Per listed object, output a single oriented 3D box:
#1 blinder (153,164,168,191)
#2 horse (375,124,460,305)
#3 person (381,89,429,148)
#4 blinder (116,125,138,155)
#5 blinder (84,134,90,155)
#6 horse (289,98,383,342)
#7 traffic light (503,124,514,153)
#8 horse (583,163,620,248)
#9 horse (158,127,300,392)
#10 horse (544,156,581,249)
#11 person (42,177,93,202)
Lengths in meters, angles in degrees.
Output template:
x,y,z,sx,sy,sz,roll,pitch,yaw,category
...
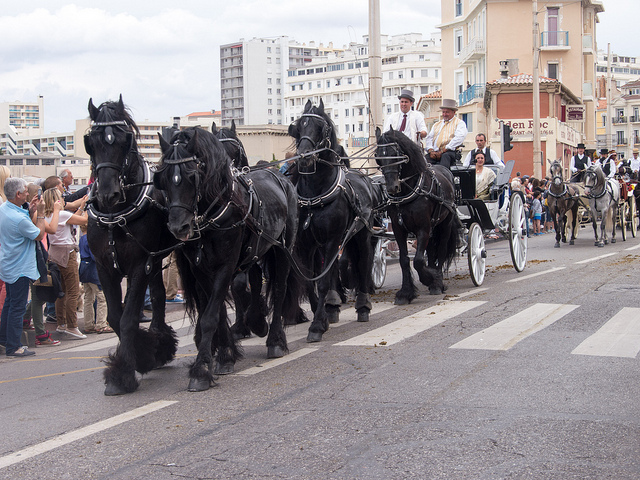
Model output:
x,y,z,sx,sy,sz,roll,pitch,yaw,category
-1.761,-0.674,10.457,0.255,0.278,0.096,-2,5,36,blinder
1.577,-0.407,15.309,0.845,2.738,2.346,-3,3,20,horse
1.519,-1.928,16.695,0.884,1.376,0.768,5,10,22,person
-2.131,-1.114,10.578,0.113,0.325,0.298,-4,3,16,blinder
-2.552,-1.049,10.410,0.055,0.213,0.117,-6,4,-12,blinder
0.189,-0.314,13.428,0.947,3.159,2.567,-4,3,10,horse
5.418,-2.970,27.424,0.274,0.770,1.237,-4,3,10,traffic light
7.254,-0.919,24.364,0.840,1.994,1.978,-3,3,18,horse
-1.121,0.130,11.669,1.156,2.838,3.760,4,6,15,horse
6.509,-0.935,25.434,0.843,2.134,3.489,0,-1,23,horse
-3.775,-0.757,13.809,0.937,0.282,0.637,-1,3,-10,person
